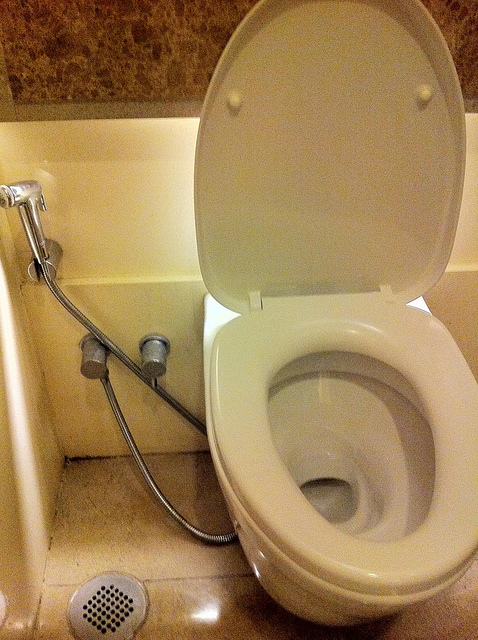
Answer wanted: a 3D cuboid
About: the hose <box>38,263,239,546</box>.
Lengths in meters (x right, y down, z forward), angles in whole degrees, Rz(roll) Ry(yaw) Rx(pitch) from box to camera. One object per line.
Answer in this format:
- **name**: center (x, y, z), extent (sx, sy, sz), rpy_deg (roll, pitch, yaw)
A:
- **hose**: center (-0.158, 0.179, 0.966), extent (0.281, 0.529, 0.319), rpy_deg (0, 48, -1)
